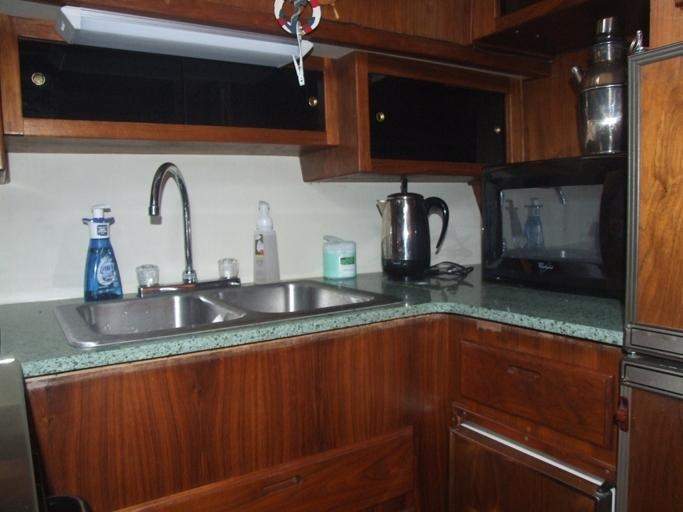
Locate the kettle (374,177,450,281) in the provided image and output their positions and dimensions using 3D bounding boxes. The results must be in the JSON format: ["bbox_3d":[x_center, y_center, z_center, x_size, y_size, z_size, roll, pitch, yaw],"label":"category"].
[{"bbox_3d":[0.273,-0.082,2.058,0.264,0.330,0.164,-2,7,4],"label":"kettle"}]

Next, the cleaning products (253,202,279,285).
[{"bbox_3d":[-0.282,-0.048,1.954,0.076,0.290,0.081,-8,9,-42],"label":"cleaning products"}]

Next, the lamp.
[{"bbox_3d":[-0.443,-0.626,1.530,0.659,0.095,0.165,-7,8,-31],"label":"lamp"}]

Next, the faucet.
[{"bbox_3d":[-0.563,-0.106,1.782,0.145,0.413,0.193,-5,7,-19],"label":"faucet"}]

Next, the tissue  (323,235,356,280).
[{"bbox_3d":[-0.009,0.003,2.096,0.134,0.170,0.121,-3,7,-2],"label":"tissue "}]
